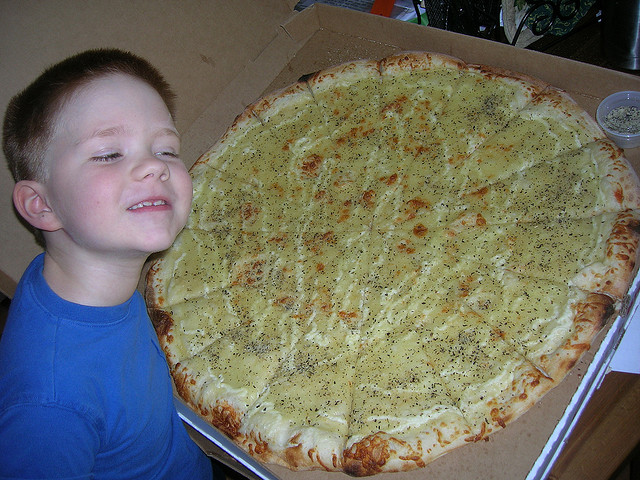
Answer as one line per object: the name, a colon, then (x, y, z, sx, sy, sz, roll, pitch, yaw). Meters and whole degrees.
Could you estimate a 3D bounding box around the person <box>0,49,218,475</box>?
person: (-0.665, 0.118, 1.915, 0.579, 1.411, 0.496, -2, 7, -17)
